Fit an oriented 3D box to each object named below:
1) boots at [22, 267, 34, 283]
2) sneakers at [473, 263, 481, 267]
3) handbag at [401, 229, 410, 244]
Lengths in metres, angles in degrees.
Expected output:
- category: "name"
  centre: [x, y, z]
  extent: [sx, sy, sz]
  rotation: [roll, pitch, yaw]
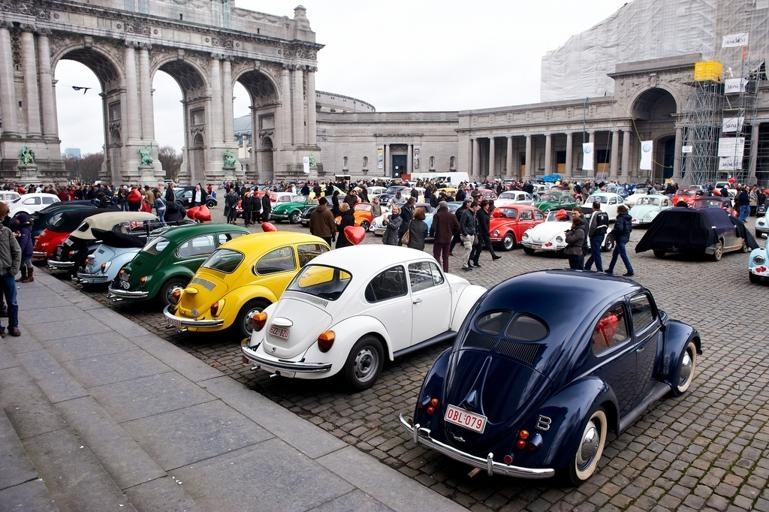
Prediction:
- category: "boots"
  centre: [-11.697, 0.620, 16.869]
  extent: [0.372, 0.446, 0.444]
  rotation: [8, 6, 22]
- category: "sneakers"
  centre: [3.512, 0.333, 19.315]
  extent: [0.100, 0.186, 0.304]
  rotation: [11, 20, 41]
- category: "handbag"
  centre: [0.689, -0.611, 17.354]
  extent: [0.256, 0.488, 0.364]
  rotation: [-2, 14, -8]
